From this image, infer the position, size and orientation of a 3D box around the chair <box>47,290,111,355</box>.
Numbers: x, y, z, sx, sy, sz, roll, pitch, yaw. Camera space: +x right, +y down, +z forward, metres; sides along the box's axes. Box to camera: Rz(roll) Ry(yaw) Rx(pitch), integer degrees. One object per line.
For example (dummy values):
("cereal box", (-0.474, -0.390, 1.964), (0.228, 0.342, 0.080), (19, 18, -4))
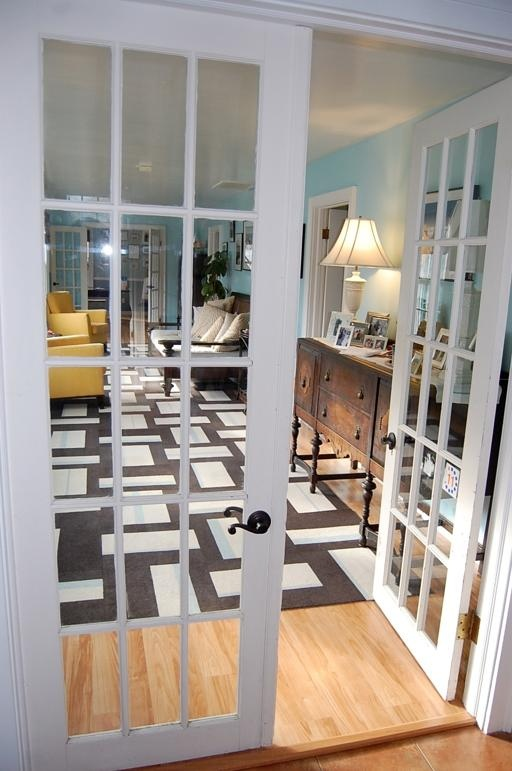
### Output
("chair", (-0.394, -0.151, 1.201), (0.110, 0.163, 0.106), (1, 20, 0))

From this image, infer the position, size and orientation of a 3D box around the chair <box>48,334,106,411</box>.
("chair", (-0.404, -0.036, 1.173), (0.127, 0.148, 0.124), (-9, 15, -40))

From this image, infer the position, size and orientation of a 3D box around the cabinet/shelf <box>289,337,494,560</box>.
("cabinet/shelf", (0.697, 0.318, 3.294), (0.458, 1.062, 1.412), (-4, 17, -21))
